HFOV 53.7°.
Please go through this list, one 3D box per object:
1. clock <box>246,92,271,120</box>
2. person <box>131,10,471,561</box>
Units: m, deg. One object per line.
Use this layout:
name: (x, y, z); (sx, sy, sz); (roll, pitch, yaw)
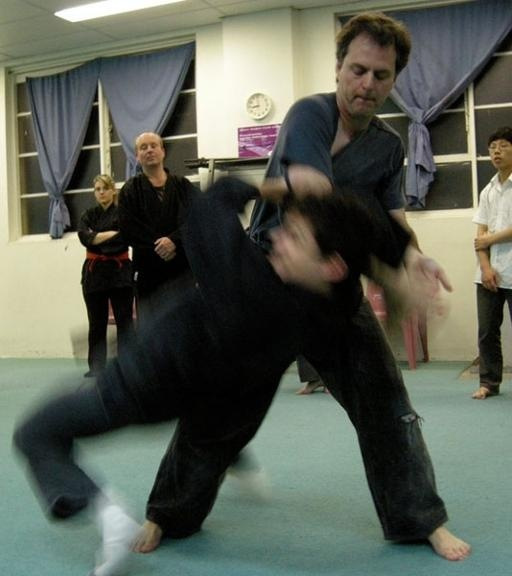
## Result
clock: (0.043, -1.935, 5.390); (0.264, 0.289, 0.058); (-14, -1, 29)
person: (0.093, 0.009, 1.151); (0.622, 1.183, 0.437); (0, -4, -2)
